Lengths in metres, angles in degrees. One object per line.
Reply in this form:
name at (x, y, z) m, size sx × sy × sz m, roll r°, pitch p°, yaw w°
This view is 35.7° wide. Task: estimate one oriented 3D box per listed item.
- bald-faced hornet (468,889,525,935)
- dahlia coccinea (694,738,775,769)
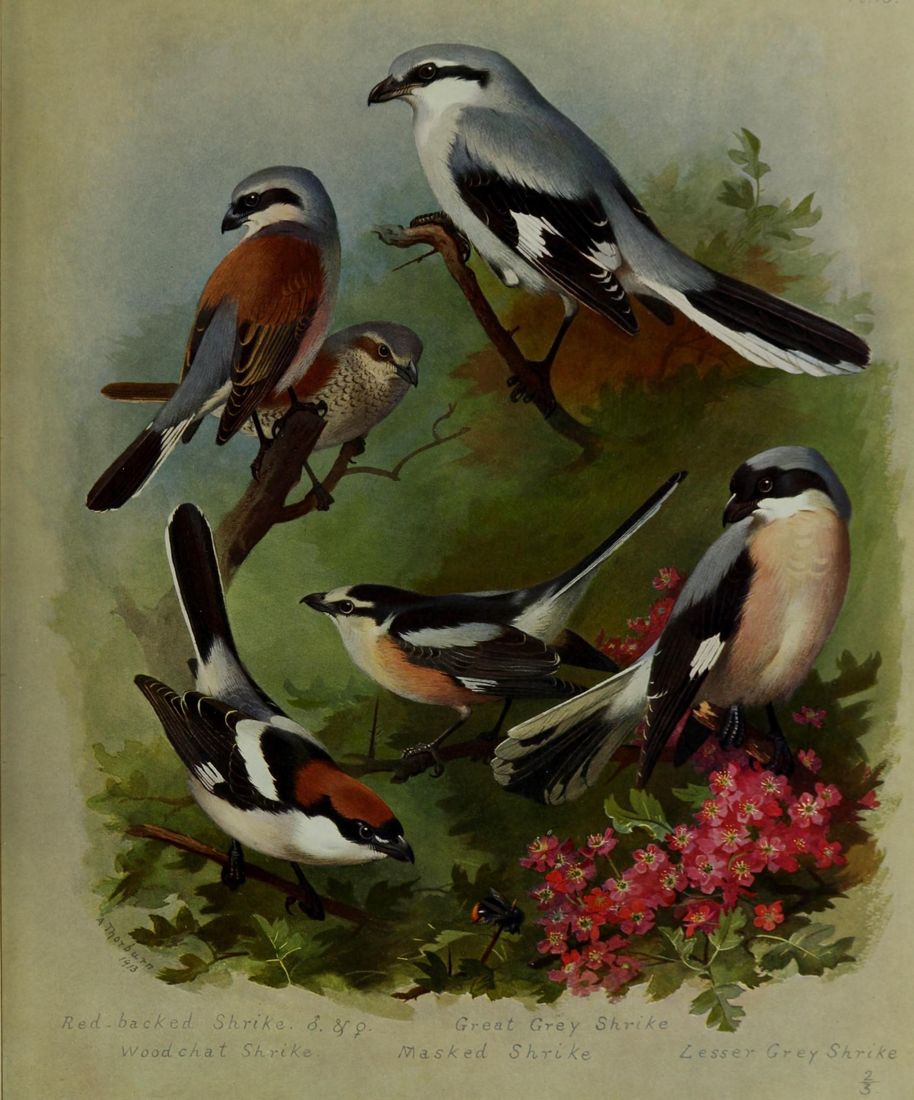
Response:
bald-faced hornet at (0.059, 0.484, 1.900) m, size 0.072 × 0.023 × 0.062 m, roll 19°, pitch 1°, yaw -8°
dahlia coccinea at (0.372, 0.269, 1.893) m, size 0.114 × 0.036 × 0.038 m, roll 2°, pitch 2°, yaw 7°
